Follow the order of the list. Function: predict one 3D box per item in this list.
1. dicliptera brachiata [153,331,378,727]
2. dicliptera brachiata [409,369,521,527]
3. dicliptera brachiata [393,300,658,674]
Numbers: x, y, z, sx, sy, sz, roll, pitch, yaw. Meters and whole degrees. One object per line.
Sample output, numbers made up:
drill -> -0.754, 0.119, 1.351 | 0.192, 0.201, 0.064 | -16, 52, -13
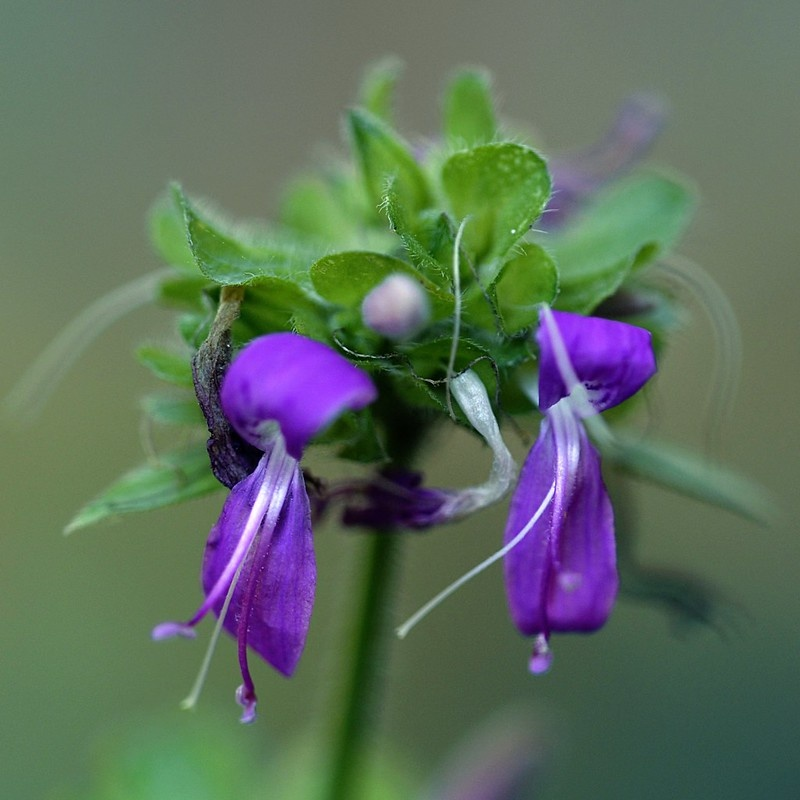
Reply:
dicliptera brachiata -> -0.110, 0.104, 0.771 | 0.204, 0.319, 0.164 | -7, 10, -3
dicliptera brachiata -> 0.059, 0.043, 0.819 | 0.093, 0.118, 0.037 | -30, -31, 28
dicliptera brachiata -> 0.146, 0.068, 0.786 | 0.139, 0.297, 0.081 | -13, 12, -33
